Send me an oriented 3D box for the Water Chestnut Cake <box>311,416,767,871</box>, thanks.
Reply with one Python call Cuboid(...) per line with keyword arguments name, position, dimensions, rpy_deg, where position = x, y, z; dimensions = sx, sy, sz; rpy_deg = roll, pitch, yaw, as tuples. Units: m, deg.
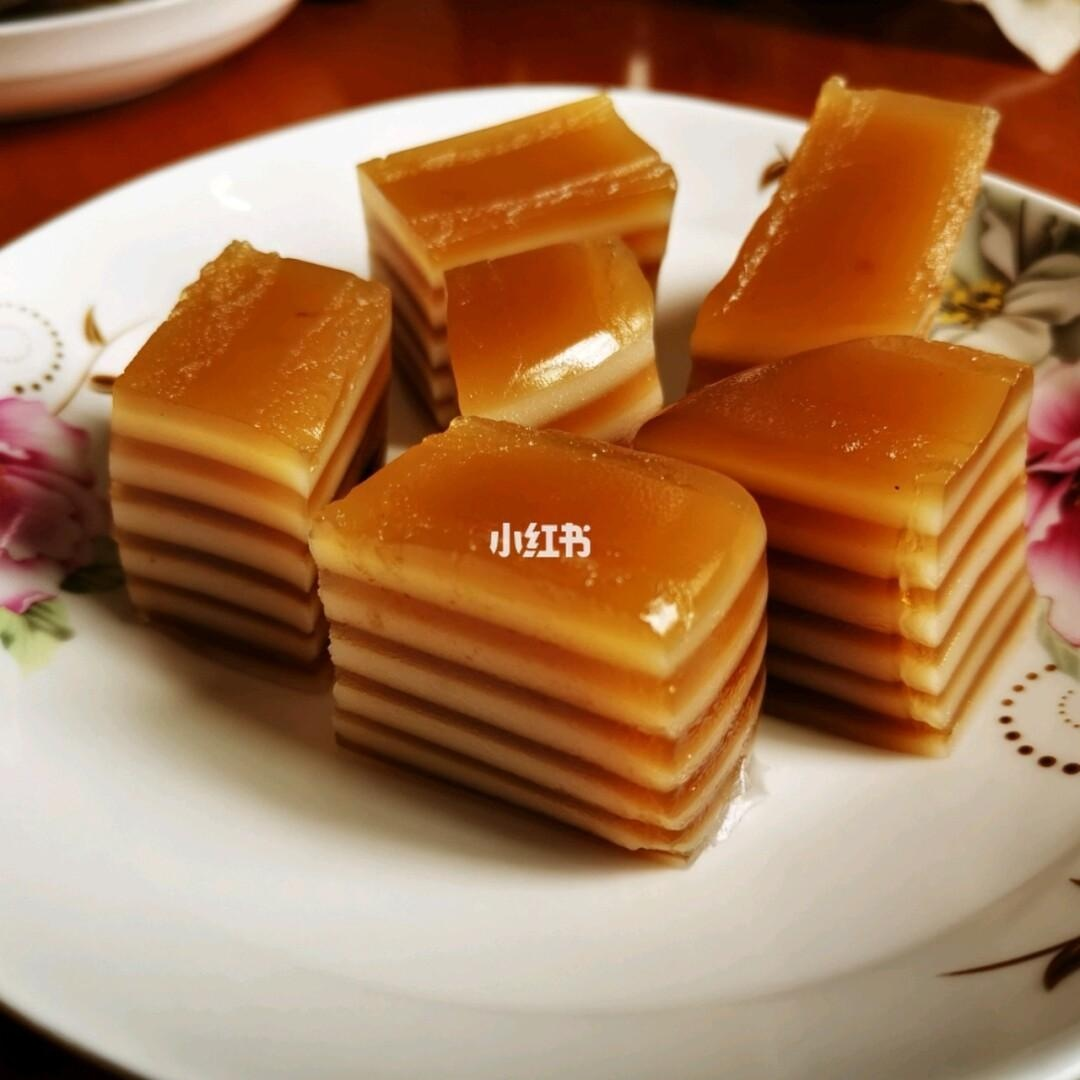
Cuboid(name="Water Chestnut Cake", position=(0.078, 0.100, 1.170), dimensions=(0.374, 0.227, 0.432), rpy_deg=(-14, 21, -29))
